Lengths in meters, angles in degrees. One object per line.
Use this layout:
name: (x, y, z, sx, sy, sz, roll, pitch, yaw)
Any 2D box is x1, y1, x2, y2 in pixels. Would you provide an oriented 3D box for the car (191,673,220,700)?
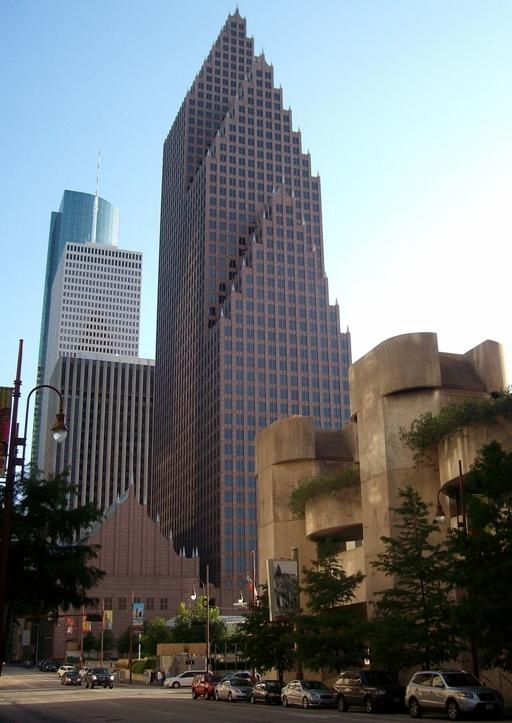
car: (-2.999, 20.152, 43.279, 1.215, 1.121, 2.238, 9, -45, -24)

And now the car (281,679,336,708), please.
car: (2.256, 14.961, 31.667, 1.165, 1.033, 2.974, 7, -29, -18)

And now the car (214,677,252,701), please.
car: (-1.273, 19.030, 40.592, 1.162, 1.031, 2.919, 8, -31, -24)

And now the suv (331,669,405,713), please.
suv: (4.457, 12.936, 27.509, 1.438, 1.329, 2.810, 8, -34, -21)

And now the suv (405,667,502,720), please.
suv: (5.876, 10.150, 21.067, 1.308, 1.418, 4.001, 3, -19, -14)
